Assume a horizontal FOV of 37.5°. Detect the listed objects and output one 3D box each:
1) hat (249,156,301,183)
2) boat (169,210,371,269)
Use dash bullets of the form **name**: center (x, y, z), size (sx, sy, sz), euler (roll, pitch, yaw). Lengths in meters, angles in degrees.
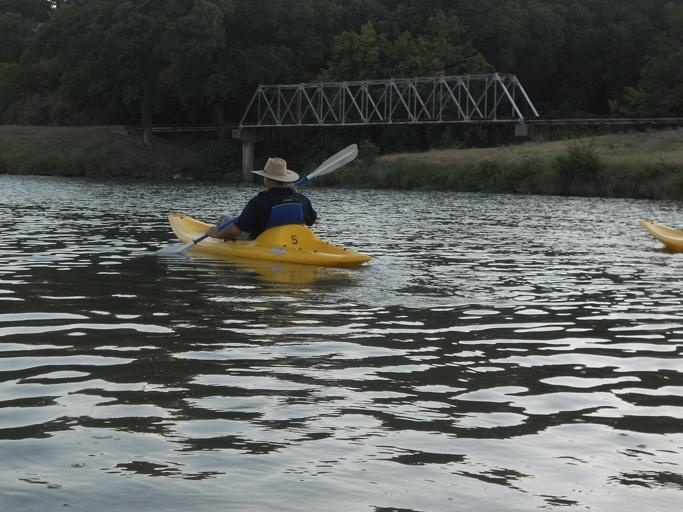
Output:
- **hat**: center (-0.856, -1.370, 15.415), size (0.629, 0.198, 0.648), euler (10, -7, 33)
- **boat**: center (-1.511, -0.201, 16.059), size (4.119, 0.552, 1.117), euler (4, 6, 30)
